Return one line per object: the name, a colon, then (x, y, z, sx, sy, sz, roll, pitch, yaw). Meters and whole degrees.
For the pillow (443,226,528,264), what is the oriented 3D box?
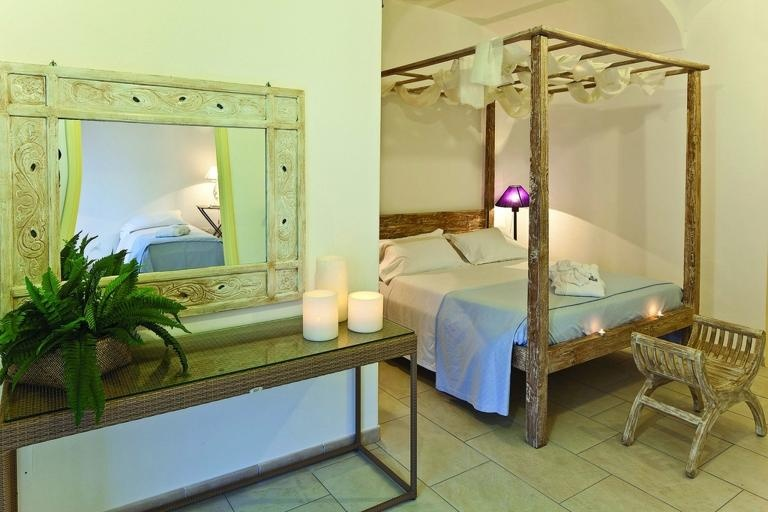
pillow: (1.196, -0.095, 5.736, 0.532, 0.124, 0.549, 2, 32, -23)

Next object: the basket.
basket: (-1.473, 0.480, 2.353, 0.301, 0.111, 0.291, -4, 5, -34)

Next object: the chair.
chair: (2.185, 0.907, 3.624, 1.064, 0.832, 0.560, -10, 13, -26)

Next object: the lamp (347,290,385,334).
lamp: (-0.105, 0.339, 3.110, 0.229, 0.203, 0.223, -1, 1, -33)

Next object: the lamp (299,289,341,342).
lamp: (-0.352, 0.346, 3.037, 0.257, 0.271, 0.253, 0, 0, -4)
